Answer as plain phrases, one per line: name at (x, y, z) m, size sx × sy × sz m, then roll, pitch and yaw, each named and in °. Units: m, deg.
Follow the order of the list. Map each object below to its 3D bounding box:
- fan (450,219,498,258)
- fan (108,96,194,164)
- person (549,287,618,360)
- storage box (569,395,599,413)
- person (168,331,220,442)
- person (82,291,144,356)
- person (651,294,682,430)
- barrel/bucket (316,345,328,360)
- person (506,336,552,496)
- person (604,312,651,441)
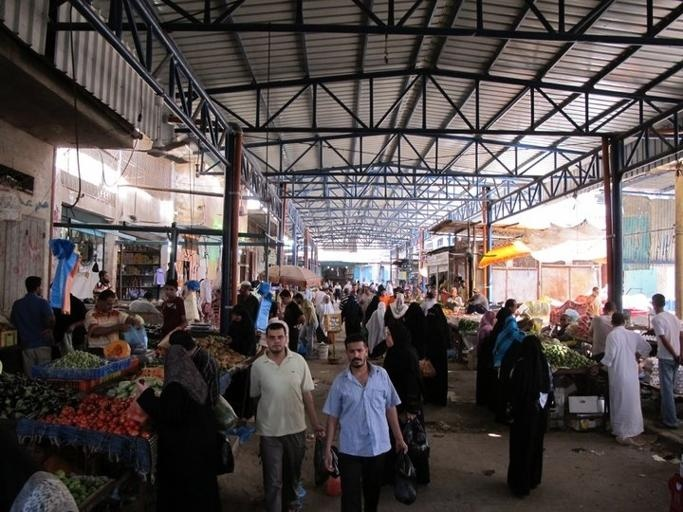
fan at (5.328, -0.713, 23.910) m, size 1.626 × 1.558 × 3.245 m, roll 2°, pitch -5°, yaw 11°
fan at (-3.663, -2.636, 11.629) m, size 1.010 × 1.270 × 1.062 m, roll 0°, pitch 4°, yaw -15°
person at (5.069, 1.431, 11.676) m, size 0.653 × 1.237 × 1.890 m, roll 9°, pitch 0°, yaw -1°
storage box at (4.097, 2.548, 9.902) m, size 0.317 × 0.224 × 0.347 m, roll -1°, pitch -4°, yaw 14°
person at (-1.694, 1.371, 6.803) m, size 0.482 × 0.948 × 0.639 m, roll -6°, pitch -4°, yaw -16°
person at (-3.725, 1.266, 9.339) m, size 0.738 × 1.473 × 0.652 m, roll 4°, pitch 10°, yaw -31°
person at (5.575, 1.782, 9.935) m, size 0.529 × 2.248 × 0.336 m, roll 2°, pitch -4°, yaw 9°
barrel/bucket at (-0.541, 2.669, 16.125) m, size 0.299 × 0.290 × 0.319 m, roll 1°, pitch -7°, yaw 0°
person at (2.559, 2.158, 7.905) m, size 0.552 × 2.136 × 0.362 m, roll 2°, pitch -4°, yaw 10°
person at (4.606, 1.978, 9.545) m, size 0.856 × 2.094 × 0.365 m, roll 4°, pitch -5°, yaw -16°
